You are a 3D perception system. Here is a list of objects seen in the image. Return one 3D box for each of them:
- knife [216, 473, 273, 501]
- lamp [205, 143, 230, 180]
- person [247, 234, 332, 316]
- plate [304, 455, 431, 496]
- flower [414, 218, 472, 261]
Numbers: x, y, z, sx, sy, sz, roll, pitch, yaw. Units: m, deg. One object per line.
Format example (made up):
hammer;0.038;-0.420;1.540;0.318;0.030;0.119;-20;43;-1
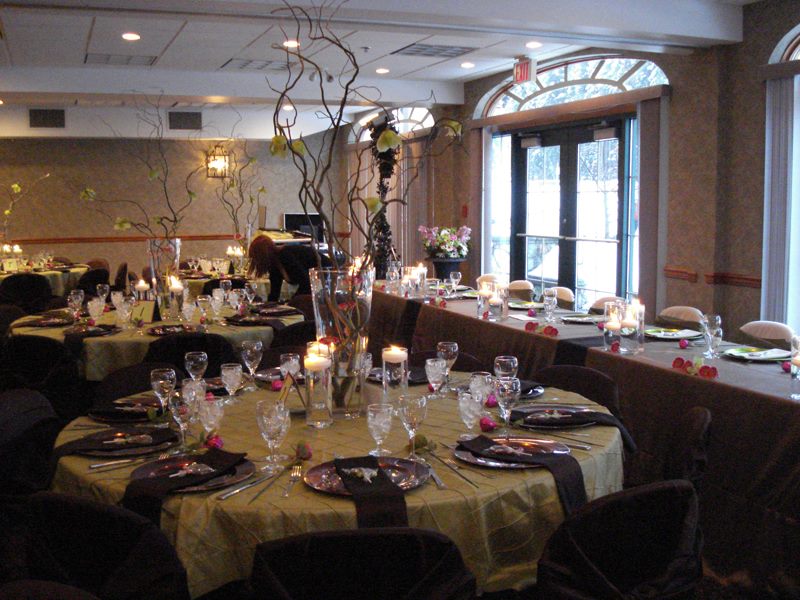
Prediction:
knife;-0.463;0.558;1.804;0.041;0.011;0.281;4;8;24
lamp;-3.615;-2.752;11.623;0.477;0.661;0.226;0;6;-15
person;-1.178;-0.249;6.566;0.938;0.952;0.632;-11;9;-23
plate;-0.101;0.546;1.834;0.395;0.056;0.254;1;5;-7
flower;0.614;-0.756;8.043;0.788;0.498;0.551;0;-1;-12
